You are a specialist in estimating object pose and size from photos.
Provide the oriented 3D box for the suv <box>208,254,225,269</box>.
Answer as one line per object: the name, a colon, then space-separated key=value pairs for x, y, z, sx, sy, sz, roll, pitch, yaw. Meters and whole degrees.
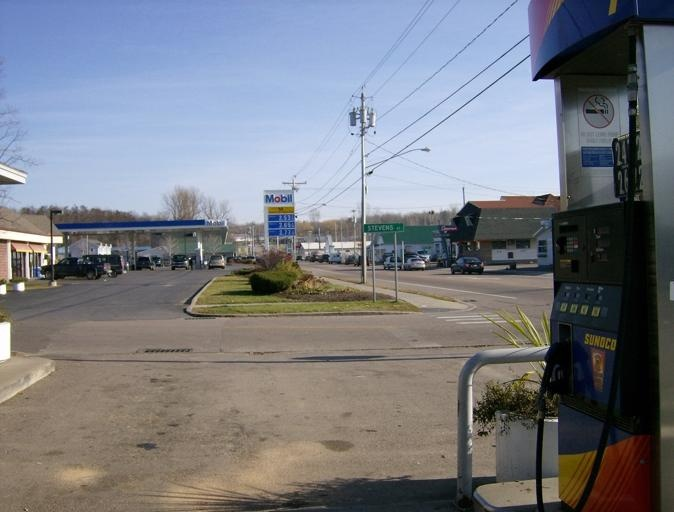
suv: x=-11.515 y=0.567 z=64.678 sx=1.333 sy=1.213 sz=1.772 roll=0 pitch=1 yaw=-13

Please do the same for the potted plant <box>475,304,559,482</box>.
potted plant: x=1.858 y=1.472 z=6.754 sx=0.827 sy=1.613 sz=1.021 roll=4 pitch=-4 yaw=-6

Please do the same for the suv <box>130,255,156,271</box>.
suv: x=-19.088 y=0.666 z=67.115 sx=1.224 sy=1.078 sz=2.264 roll=0 pitch=5 yaw=-6

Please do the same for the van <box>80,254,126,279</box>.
van: x=-17.262 y=0.886 z=49.642 sx=2.732 sy=1.572 sz=1.869 roll=2 pitch=3 yaw=4

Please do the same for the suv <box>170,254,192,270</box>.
suv: x=-15.510 y=0.595 z=66.928 sx=1.236 sy=1.086 sz=2.158 roll=0 pitch=9 yaw=-8

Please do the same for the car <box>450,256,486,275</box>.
car: x=9.224 y=0.655 z=47.365 sx=1.504 sy=1.161 sz=2.479 roll=0 pitch=1 yaw=-9
